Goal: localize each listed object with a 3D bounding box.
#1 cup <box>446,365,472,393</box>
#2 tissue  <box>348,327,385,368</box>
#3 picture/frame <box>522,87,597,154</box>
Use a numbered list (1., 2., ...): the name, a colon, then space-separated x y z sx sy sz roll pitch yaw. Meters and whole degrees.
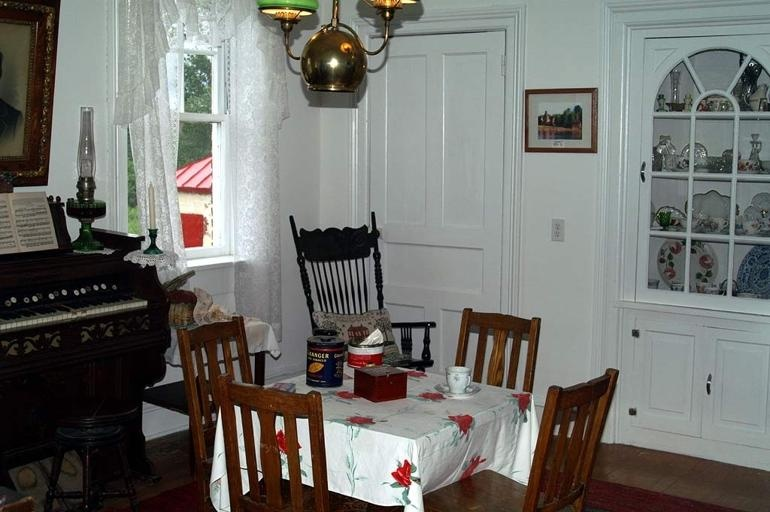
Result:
1. cup: 0.337 0.544 2.597 0.117 0.091 0.101 3 6 11
2. tissue : -0.081 0.453 2.893 0.174 0.193 0.174 2 1 13
3. picture/frame: 1.288 -0.977 4.133 0.465 0.410 0.033 2 4 19
